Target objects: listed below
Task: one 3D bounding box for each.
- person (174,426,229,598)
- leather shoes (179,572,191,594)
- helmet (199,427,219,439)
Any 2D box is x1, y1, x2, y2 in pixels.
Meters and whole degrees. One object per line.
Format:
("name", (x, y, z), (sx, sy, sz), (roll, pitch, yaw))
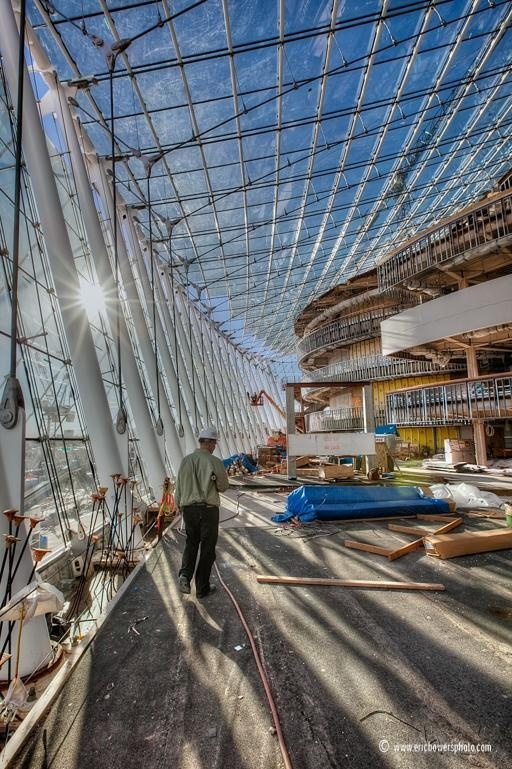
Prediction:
("person", (-0.624, 1.393, 4.965), (0.575, 1.786, 0.663), (-1, -5, -11))
("leather shoes", (-0.776, 2.149, 4.729), (0.165, 0.200, 0.103), (-5, -6, 24))
("helmet", (-0.601, 0.593, 5.342), (0.131, 0.102, 0.182), (10, -12, -39))
